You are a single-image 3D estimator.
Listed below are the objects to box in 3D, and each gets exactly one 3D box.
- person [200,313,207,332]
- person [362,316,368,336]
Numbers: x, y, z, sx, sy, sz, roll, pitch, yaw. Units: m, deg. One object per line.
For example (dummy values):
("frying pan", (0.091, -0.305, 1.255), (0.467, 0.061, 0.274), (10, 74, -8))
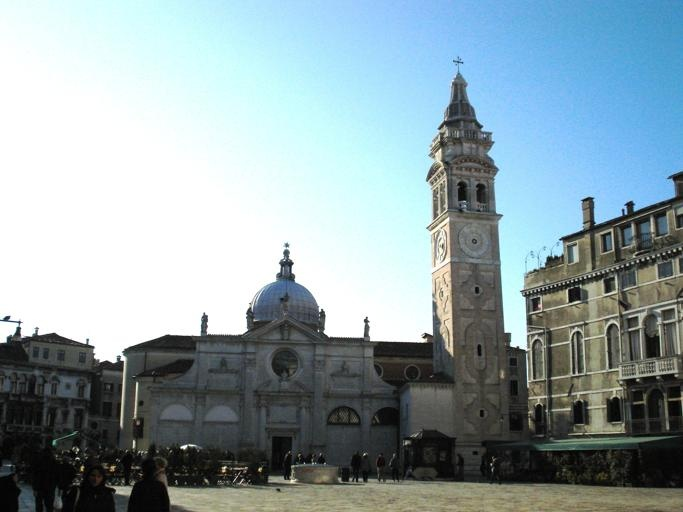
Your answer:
("person", (-13.127, 6.307, 70.480), (0.465, 2.028, 1.570), (4, -18, -13))
("person", (2.322, 6.883, 72.152), (0.429, 1.984, 1.092), (-3, -18, 10))
